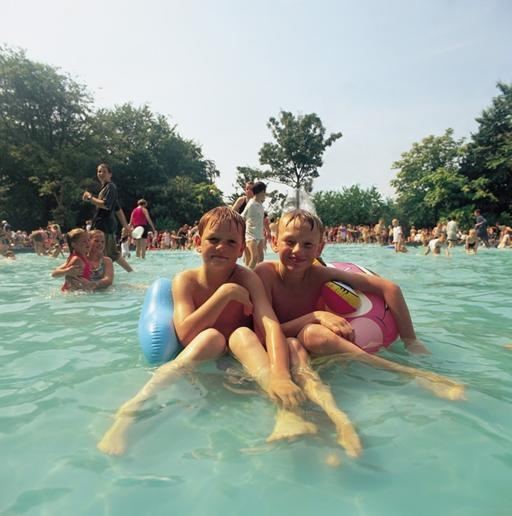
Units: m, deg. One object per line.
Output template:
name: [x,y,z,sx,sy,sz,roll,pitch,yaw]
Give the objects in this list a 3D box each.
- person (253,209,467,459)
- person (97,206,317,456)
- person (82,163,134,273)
person: [0.436,0.257,2.154,1.059,0.911,1.532,-1,6,-27]
person: [-0.158,0.230,1.953,0.665,0.675,0.998,-1,2,-2]
person: [-2.442,-0.529,6.479,0.611,1.860,1.031,-3,-8,40]
